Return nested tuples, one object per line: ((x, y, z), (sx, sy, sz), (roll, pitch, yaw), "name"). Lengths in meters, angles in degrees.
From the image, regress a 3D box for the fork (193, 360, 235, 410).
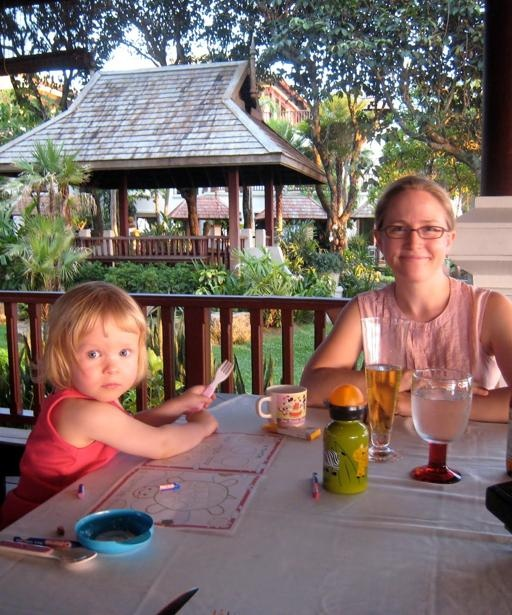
((-0.136, 0.255, 1.574), (0.028, 0.244, 0.038), (-7, 49, -36), "fork")

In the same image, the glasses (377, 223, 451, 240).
((0.534, -0.249, 1.768), (0.198, 0.054, 0.045), (0, 3, 18), "glasses")

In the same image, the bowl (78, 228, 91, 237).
((-4.620, -1.936, 14.020), (0.294, 0.252, 0.620), (-2, 4, -22), "bowl")

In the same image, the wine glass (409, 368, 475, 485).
((0.355, 0.233, 1.023), (0.113, 0.200, 0.113), (3, 2, 45), "wine glass")

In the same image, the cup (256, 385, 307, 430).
((0.056, 0.249, 1.319), (0.133, 0.103, 0.086), (-6, 15, -25), "cup")
